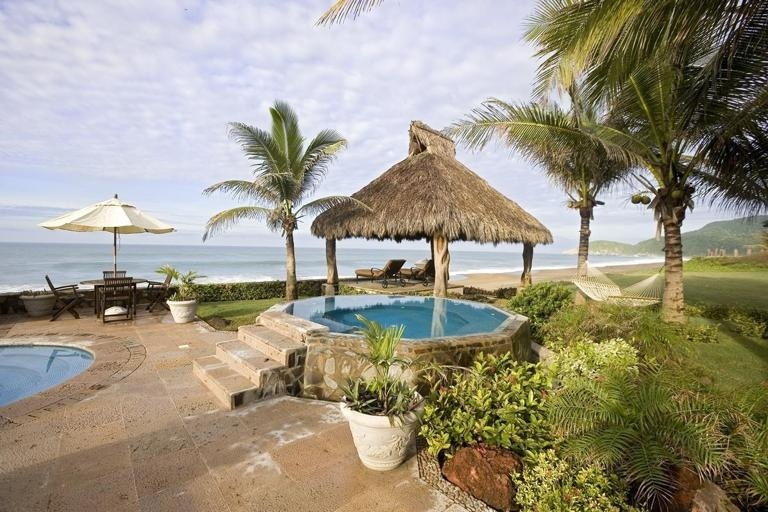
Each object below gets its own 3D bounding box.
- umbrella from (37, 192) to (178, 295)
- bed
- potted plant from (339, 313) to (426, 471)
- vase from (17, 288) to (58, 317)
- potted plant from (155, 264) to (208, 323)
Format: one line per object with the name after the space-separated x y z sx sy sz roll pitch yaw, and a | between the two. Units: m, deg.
-8.921 -0.566 12.774 3.063 2.788 2.869 -2 3 -30 | umbrella
7.355 1.189 12.129 1.784 0.726 1.782 0 -1 -31 | bed
-0.034 2.510 7.344 2.042 3.229 2.330 0 -1 -2 | potted plant
-11.347 1.686 12.666 0.908 0.665 0.934 0 -7 -1 | vase
-8.292 1.698 15.795 2.406 2.530 1.969 3 -10 -31 | potted plant
